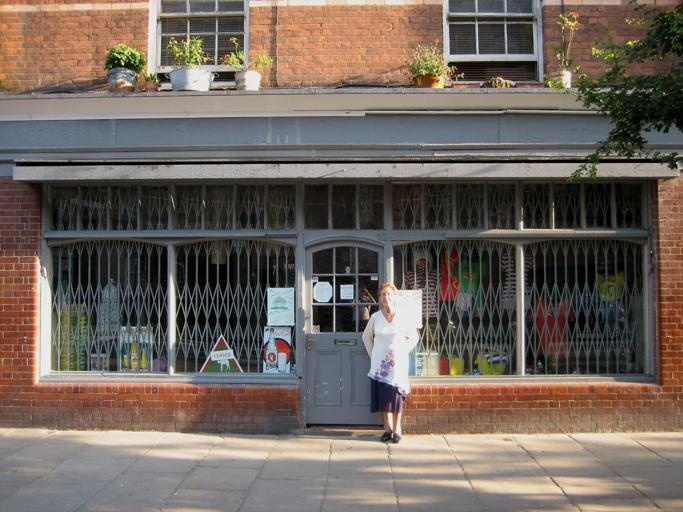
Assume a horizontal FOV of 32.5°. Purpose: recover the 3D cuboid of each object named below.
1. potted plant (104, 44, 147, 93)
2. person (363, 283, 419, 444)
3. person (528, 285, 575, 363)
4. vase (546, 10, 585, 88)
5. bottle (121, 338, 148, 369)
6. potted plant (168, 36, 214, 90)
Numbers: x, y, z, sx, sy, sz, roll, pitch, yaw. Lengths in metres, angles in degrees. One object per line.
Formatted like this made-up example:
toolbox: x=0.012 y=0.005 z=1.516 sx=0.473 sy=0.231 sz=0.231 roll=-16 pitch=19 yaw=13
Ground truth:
potted plant: x=-3.297 y=-2.834 z=17.909 sx=0.600 sy=0.740 sz=0.280 roll=0 pitch=-2 yaw=-14
person: x=0.696 y=1.549 z=16.906 sx=0.858 sy=2.130 sz=0.764 roll=5 pitch=3 yaw=0
person: x=3.143 y=1.052 z=17.752 sx=0.536 sy=1.048 sz=0.744 roll=3 pitch=4 yaw=9
vase: x=3.380 y=-3.095 z=17.819 sx=0.534 sy=1.352 sz=0.729 roll=-1 pitch=-2 yaw=18
bottle: x=-3.093 y=1.485 z=17.613 sx=0.415 sy=0.497 sz=0.035 roll=1 pitch=5 yaw=6
potted plant: x=-2.308 y=-2.907 z=17.975 sx=0.673 sy=0.927 sz=0.680 roll=0 pitch=-2 yaw=-7
